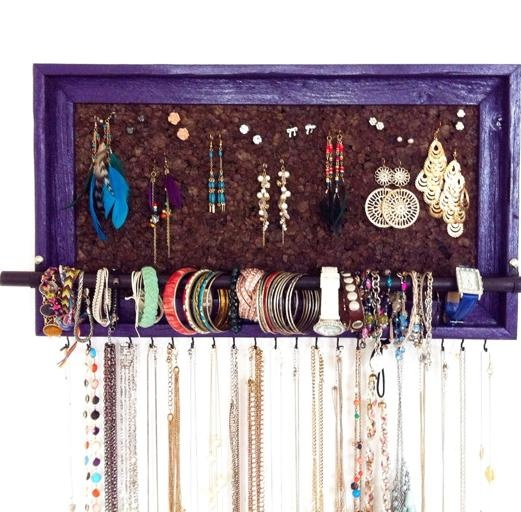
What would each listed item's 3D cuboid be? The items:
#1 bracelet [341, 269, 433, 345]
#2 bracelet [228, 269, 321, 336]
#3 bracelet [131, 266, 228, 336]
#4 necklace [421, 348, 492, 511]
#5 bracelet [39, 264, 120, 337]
[{"bbox_3d":[0.369,0.144,3.857,0.270,0.218,0.139,-1,-2,-2],"label":"bracelet"},{"bbox_3d":[0.052,0.131,3.816,0.197,0.191,0.091,-2,5,-42],"label":"bracelet"},{"bbox_3d":[-0.234,0.125,3.877,0.283,0.203,0.143,-1,-2,-7],"label":"bracelet"},{"bbox_3d":[0.609,0.498,3.939,0.163,0.502,0.091,-1,-2,7],"label":"necklace"},{"bbox_3d":[-0.532,0.121,3.888,0.205,0.197,0.104,1,6,-1],"label":"bracelet"}]
